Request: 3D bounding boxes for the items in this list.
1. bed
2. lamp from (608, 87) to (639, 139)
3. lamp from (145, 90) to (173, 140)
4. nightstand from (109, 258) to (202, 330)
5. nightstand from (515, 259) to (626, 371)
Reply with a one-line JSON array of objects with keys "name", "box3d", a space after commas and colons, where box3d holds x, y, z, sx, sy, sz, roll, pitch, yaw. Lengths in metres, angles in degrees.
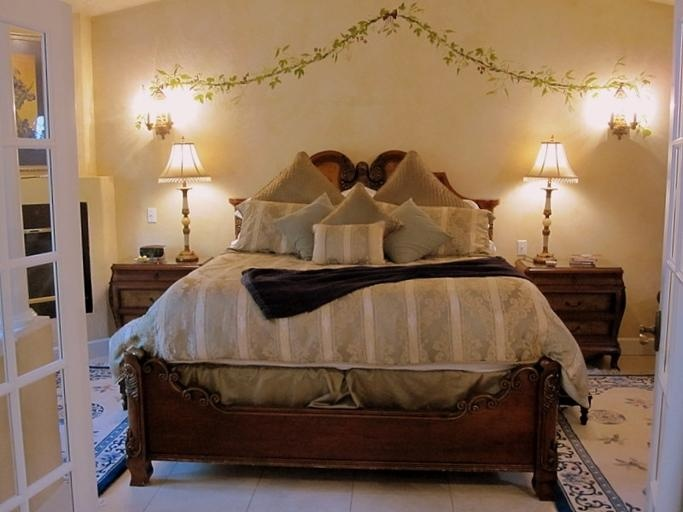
[{"name": "bed", "box3d": [0.154, 0.393, 3.444, 1.713, 0.945, 1.656, 1, 14, 4]}, {"name": "lamp", "box3d": [2.169, -1.074, 4.582, 0.226, 0.372, 0.095, 4, 14, 19]}, {"name": "lamp", "box3d": [-1.469, -1.093, 4.821, 0.217, 0.300, 0.109, -8, 5, -7]}, {"name": "nightstand", "box3d": [-1.469, 0.354, 4.827, 0.670, 0.546, 0.483, 0, 2, -11]}, {"name": "nightstand", "box3d": [1.763, 0.408, 4.755, 0.782, 0.745, 0.781, 1, 8, 7]}]
